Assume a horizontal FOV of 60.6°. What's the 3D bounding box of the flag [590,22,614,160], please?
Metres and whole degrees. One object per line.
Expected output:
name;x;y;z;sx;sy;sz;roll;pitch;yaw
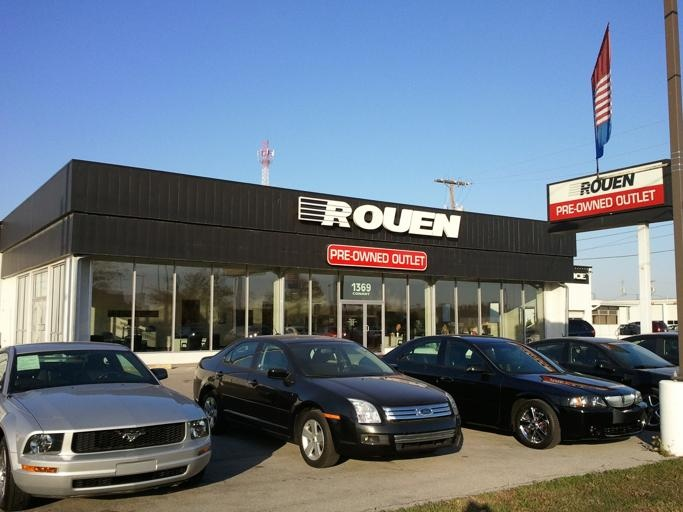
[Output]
flag;9.262;-5.719;20.805;0.596;4.574;1.647;3;3;21

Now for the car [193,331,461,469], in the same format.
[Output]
car;-0.527;2.287;9.545;1.945;1.418;4.130;8;-9;-37

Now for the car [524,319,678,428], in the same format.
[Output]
car;5.463;2.487;12.454;1.317;0.995;2.786;5;-6;-41
